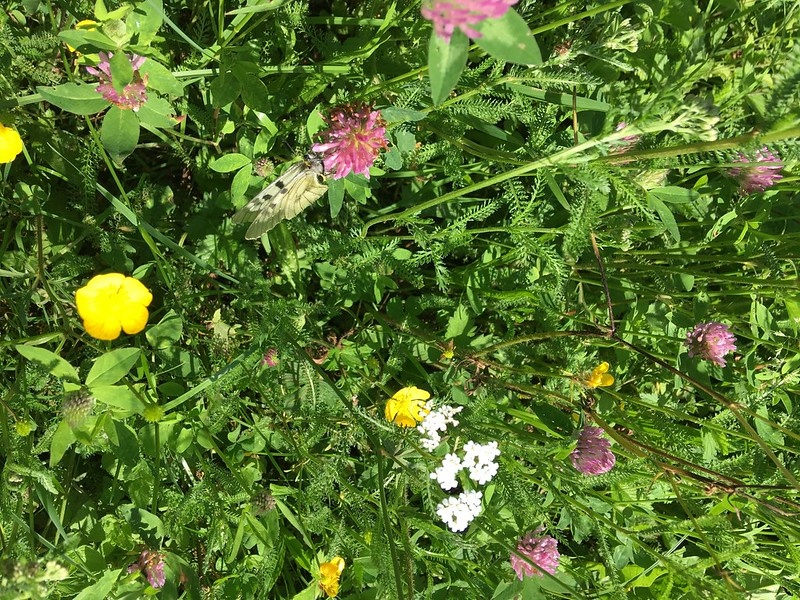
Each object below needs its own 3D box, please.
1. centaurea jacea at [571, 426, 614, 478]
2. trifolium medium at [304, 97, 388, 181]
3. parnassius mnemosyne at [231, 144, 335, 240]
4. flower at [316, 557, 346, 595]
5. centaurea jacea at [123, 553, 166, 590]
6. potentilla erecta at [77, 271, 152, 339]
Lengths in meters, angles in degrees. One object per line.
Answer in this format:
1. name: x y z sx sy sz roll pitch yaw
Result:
1. centaurea jacea: 0.922 0.733 3.446 0.195 0.215 0.258 -7 84 -3
2. trifolium medium: -0.238 -0.724 3.278 0.244 0.305 0.402 13 121 27
3. parnassius mnemosyne: -0.535 -0.487 3.280 0.291 0.272 0.552 37 81 12
4. flower: -0.338 1.364 3.543 0.072 0.172 0.188 10 103 19
5. centaurea jacea: -1.212 1.310 3.437 0.173 0.070 0.162 -40 88 16
6. potentilla erecta: -1.302 0.060 3.477 0.292 0.617 0.301 10 84 -1
